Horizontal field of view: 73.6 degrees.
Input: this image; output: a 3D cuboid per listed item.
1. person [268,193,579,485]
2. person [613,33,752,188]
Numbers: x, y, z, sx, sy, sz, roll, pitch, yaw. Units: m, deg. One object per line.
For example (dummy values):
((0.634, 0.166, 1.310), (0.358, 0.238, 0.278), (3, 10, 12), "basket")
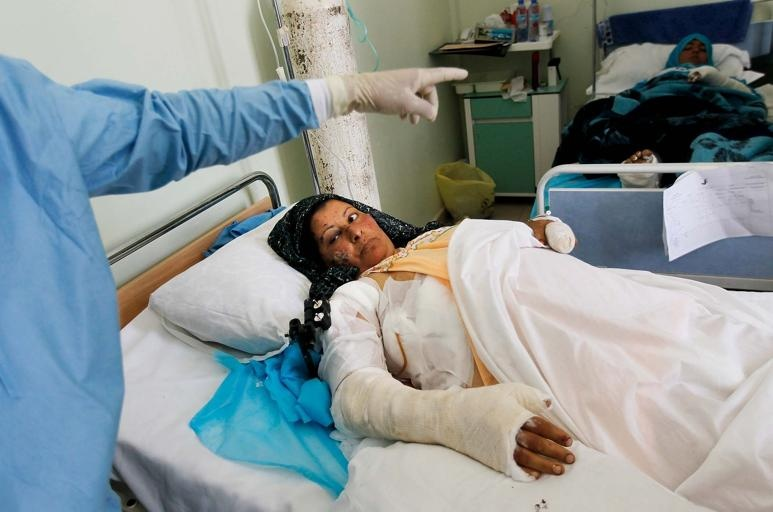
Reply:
((0.150, 0.177, 1.912), (1.215, 0.427, 0.994), (23, 45, 26), "person")
((1.760, -0.937, 3.242), (0.669, 0.472, 1.444), (8, 53, 39), "person")
